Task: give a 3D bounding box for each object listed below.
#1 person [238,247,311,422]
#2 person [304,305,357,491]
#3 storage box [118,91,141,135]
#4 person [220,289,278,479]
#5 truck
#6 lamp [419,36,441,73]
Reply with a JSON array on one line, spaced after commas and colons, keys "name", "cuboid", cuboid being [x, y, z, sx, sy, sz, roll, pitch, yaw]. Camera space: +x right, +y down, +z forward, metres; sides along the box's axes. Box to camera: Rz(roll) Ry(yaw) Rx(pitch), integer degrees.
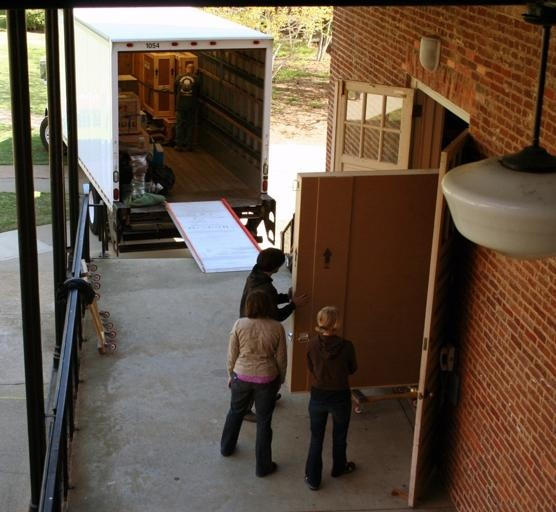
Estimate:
[{"name": "person", "cuboid": [-0.142, 0.710, 4.840, 0.515, 1.484, 0.531, -16, -29, 28]}, {"name": "person", "cuboid": [0.424, 1.180, 4.374, 0.405, 1.633, 0.293, 2, 16, 2]}, {"name": "storage box", "cuboid": [-2.947, -2.754, 10.455, 0.416, 0.677, 0.484, -3, 17, -16]}, {"name": "person", "cuboid": [-0.243, 1.074, 4.565, 0.523, 1.661, 0.267, 11, 19, 30]}, {"name": "truck", "cuboid": [-2.540, -3.279, 12.256, 3.771, 4.358, 7.545, -4, 30, -13]}, {"name": "lamp", "cuboid": [1.473, -1.976, 5.172, 0.106, 0.326, 0.339, -1, 17, -9]}]
